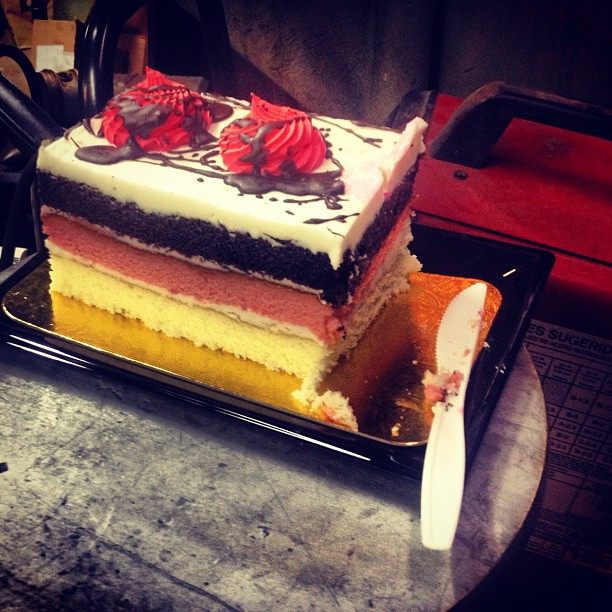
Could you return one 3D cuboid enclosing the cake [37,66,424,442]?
[{"bbox_3d":[-0.123,-0.123,1.278,0.608,0.362,0.332,18,36,20],"label":"cake"}]

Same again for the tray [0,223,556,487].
[{"bbox_3d":[-0.093,0.107,1.147,0.763,0.087,0.468,12,42,18],"label":"tray"}]

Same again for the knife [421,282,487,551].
[{"bbox_3d":[0.246,0.142,1.117,0.093,0.023,0.554,4,34,18],"label":"knife"}]

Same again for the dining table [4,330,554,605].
[{"bbox_3d":[-0.082,0.263,1.103,0.946,0.234,0.402,6,23,-1],"label":"dining table"}]
